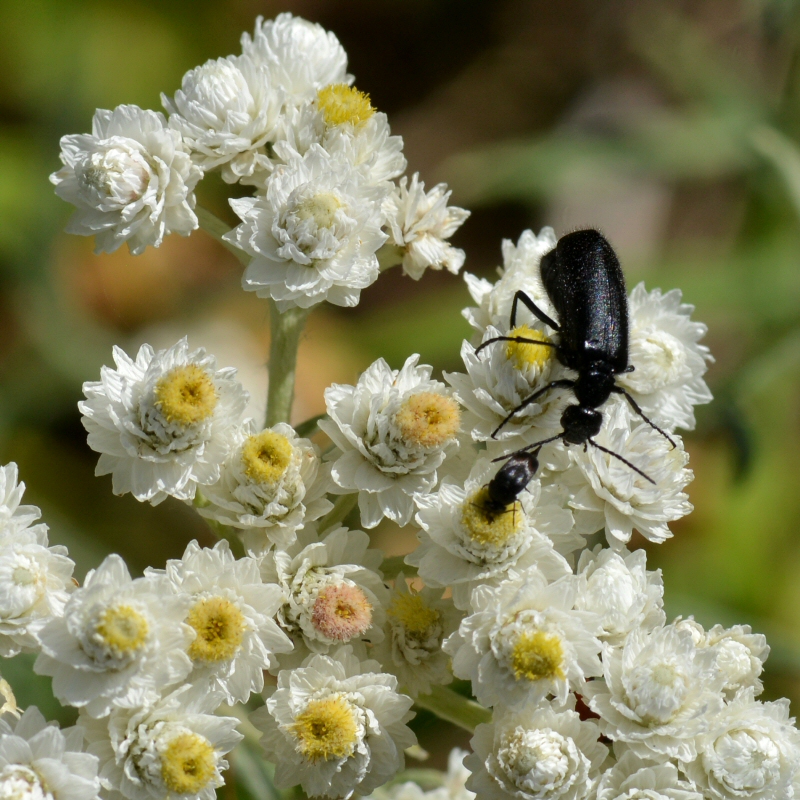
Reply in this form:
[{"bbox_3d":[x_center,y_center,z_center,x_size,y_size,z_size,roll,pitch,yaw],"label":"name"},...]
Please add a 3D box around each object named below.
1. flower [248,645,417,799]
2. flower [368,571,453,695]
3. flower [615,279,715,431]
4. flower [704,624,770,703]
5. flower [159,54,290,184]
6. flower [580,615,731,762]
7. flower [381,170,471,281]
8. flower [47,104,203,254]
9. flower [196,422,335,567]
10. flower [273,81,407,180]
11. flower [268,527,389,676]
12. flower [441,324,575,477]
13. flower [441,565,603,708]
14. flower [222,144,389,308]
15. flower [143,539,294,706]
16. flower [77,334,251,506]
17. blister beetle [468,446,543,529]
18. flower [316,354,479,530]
[{"bbox_3d":[-0.147,0.733,2.600,0.346,0.311,0.225,-8,32,-18],"label":"flower"},{"bbox_3d":[0.042,0.555,2.740,0.165,0.186,0.085,-4,50,43],"label":"flower"},{"bbox_3d":[0.701,-0.128,3.079,0.121,0.342,0.358,-19,58,25],"label":"flower"},{"bbox_3d":[0.801,0.642,2.780,0.147,0.177,0.074,-3,-13,-22],"label":"flower"},{"bbox_3d":[-0.415,-0.680,2.935,0.292,0.321,0.225,-11,-15,2],"label":"flower"},{"bbox_3d":[0.583,0.673,2.571,0.282,0.173,0.294,-1,7,-24],"label":"flower"},{"bbox_3d":[0.051,-0.426,2.996,0.216,0.291,0.131,-3,1,-16],"label":"flower"},{"bbox_3d":[-0.649,-0.531,2.874,0.339,0.382,0.161,1,-8,-4],"label":"flower"},{"bbox_3d":[-0.313,0.205,2.736,0.303,0.181,0.317,4,44,9],"label":"flower"},{"bbox_3d":[-0.117,-0.673,2.961,0.206,0.149,0.228,3,1,-4],"label":"flower"},{"bbox_3d":[-0.181,0.462,2.687,0.276,0.124,0.298,12,47,-19],"label":"flower"},{"bbox_3d":[0.260,-0.017,2.864,0.331,0.217,0.350,10,-4,20],"label":"flower"},{"bbox_3d":[0.288,0.524,2.522,0.314,0.236,0.208,12,32,13],"label":"flower"},{"bbox_3d":[-0.243,-0.446,2.862,0.392,0.185,0.396,-7,-14,-46],"label":"flower"},{"bbox_3d":[-0.413,0.502,2.570,0.304,0.148,0.328,22,20,14],"label":"flower"},{"bbox_3d":[-0.557,0.042,2.697,0.353,0.208,0.378,29,54,-17],"label":"flower"},{"bbox_3d":[0.268,0.189,2.633,0.064,0.144,0.222,42,33,-18],"label":"blister beetle"},{"bbox_3d":[0.027,0.119,2.747,0.403,0.214,0.375,-16,54,-42],"label":"flower"}]
